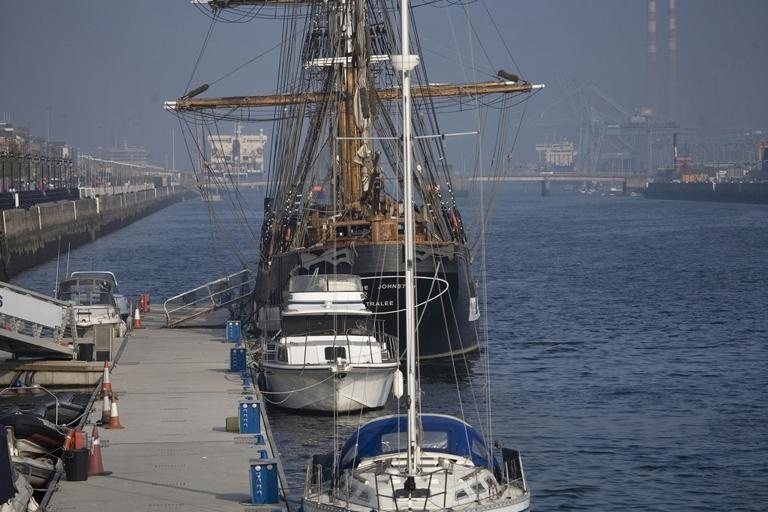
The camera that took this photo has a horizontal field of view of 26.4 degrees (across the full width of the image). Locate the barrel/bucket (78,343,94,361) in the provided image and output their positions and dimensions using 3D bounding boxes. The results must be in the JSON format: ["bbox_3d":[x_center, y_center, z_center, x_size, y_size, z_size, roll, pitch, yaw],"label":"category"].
[{"bbox_3d":[-15.507,4.922,85.228,1.012,0.871,0.541,4,7,24],"label":"barrel/bucket"}]

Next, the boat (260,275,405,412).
[{"bbox_3d":[-2.491,4.485,81.956,5.959,5.827,13.833,0,-4,-5],"label":"boat"}]

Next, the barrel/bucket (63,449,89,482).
[{"bbox_3d":[-13.701,9.290,72.948,1.315,1.292,1.369,-2,-2,0],"label":"barrel/bucket"}]
